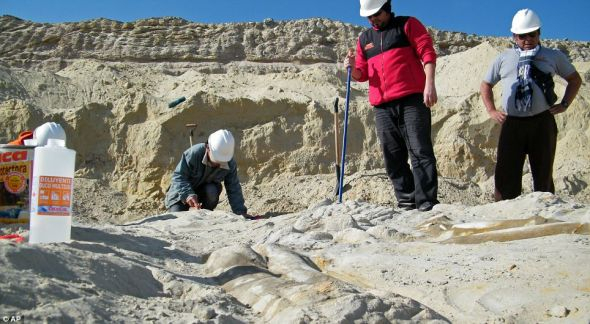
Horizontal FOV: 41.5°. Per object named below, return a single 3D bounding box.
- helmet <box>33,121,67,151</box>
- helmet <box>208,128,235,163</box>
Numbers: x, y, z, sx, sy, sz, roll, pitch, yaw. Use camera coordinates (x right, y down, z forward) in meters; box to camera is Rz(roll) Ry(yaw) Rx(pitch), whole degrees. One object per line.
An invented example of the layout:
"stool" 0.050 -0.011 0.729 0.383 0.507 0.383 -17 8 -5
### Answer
"helmet" -4.353 -0.475 13.734 0.503 0.476 0.421 -5 2 -1
"helmet" -1.545 -0.272 16.104 0.468 0.677 0.357 0 -25 -19
